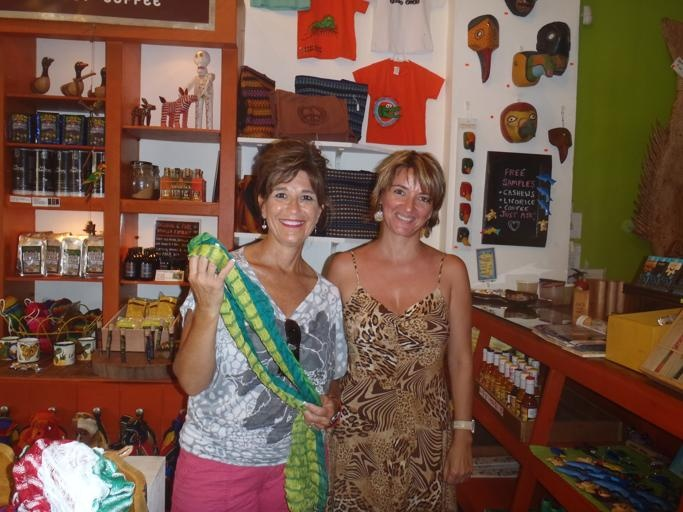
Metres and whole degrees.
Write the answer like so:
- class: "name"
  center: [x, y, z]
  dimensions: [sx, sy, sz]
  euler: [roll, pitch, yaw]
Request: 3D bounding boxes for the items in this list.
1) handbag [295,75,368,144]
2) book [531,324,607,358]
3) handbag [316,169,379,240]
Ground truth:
- class: "handbag"
  center: [-0.025, -1.116, 4.143]
  dimensions: [0.458, 0.521, 0.161]
  euler: [6, -3, -11]
- class: "book"
  center: [1.125, 0.399, 2.822]
  dimensions: [0.243, 0.089, 0.437]
  euler: [1, 5, -20]
- class: "handbag"
  center: [0.101, -0.377, 4.104]
  dimensions: [0.400, 0.443, 0.411]
  euler: [3, 11, 20]
